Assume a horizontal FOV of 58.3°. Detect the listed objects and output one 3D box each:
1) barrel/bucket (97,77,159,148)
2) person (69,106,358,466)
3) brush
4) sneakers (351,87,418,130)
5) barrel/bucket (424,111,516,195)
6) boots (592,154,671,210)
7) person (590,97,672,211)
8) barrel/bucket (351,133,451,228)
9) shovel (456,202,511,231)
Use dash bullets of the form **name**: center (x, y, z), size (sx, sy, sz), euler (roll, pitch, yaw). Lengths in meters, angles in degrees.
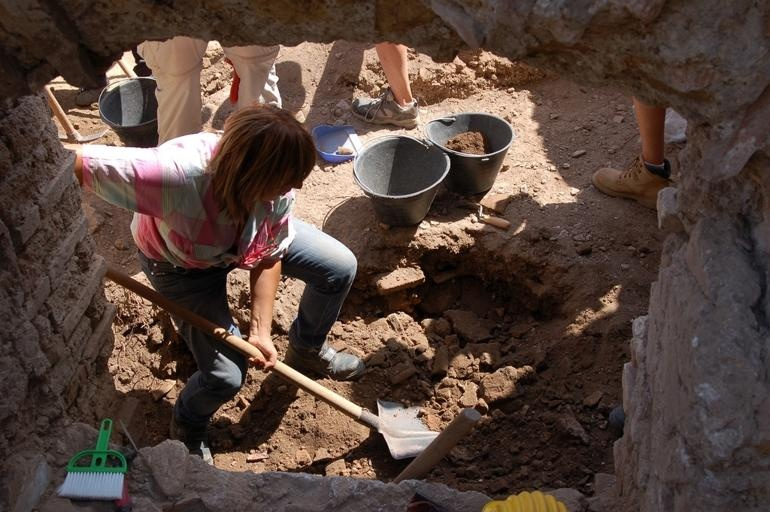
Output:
- **barrel/bucket**: center (-2.109, -1.209, 5.477), size (0.493, 0.374, 0.519), euler (-5, 20, 2)
- **person**: center (-0.874, 0.112, 3.633), size (1.528, 1.963, 1.085), euler (-13, 40, -17)
- **brush**: center (-1.230, 0.914, 2.884), size (0.276, 0.119, 0.380), euler (-18, 60, -14)
- **sneakers**: center (0.006, -1.141, 5.459), size (0.602, 0.298, 0.240), euler (14, 64, 11)
- **barrel/bucket**: center (0.586, -0.751, 4.767), size (0.584, 0.409, 0.594), euler (-3, 43, 2)
- **boots**: center (1.534, -0.515, 4.469), size (0.542, 0.342, 0.220), euler (21, 65, 37)
- **person**: center (1.556, -0.688, 4.340), size (0.551, 0.753, 0.233), euler (28, 60, 37)
- **barrel/bucket**: center (0.091, -0.510, 4.595), size (0.622, 0.493, 0.654), euler (1, 57, -2)
- **shovel**: center (0.644, -0.263, 4.677), size (0.449, 0.083, 0.118), euler (27, 68, 36)
